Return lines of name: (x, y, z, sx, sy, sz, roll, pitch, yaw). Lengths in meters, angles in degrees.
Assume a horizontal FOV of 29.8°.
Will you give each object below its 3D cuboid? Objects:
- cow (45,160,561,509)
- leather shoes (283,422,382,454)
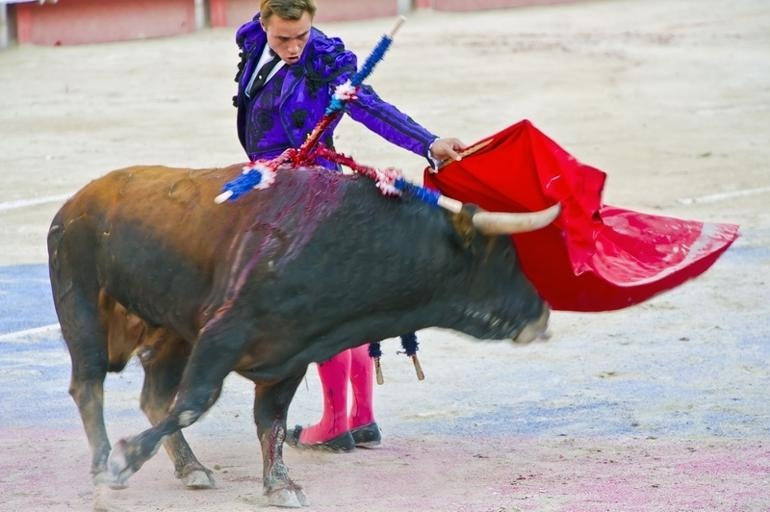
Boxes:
cow: (-0.481, 0.477, 8.256, 2.558, 1.178, 0.650, 8, -1, 17)
leather shoes: (-0.311, 1.123, 8.963, 0.594, 0.121, 0.208, 2, -1, 7)
